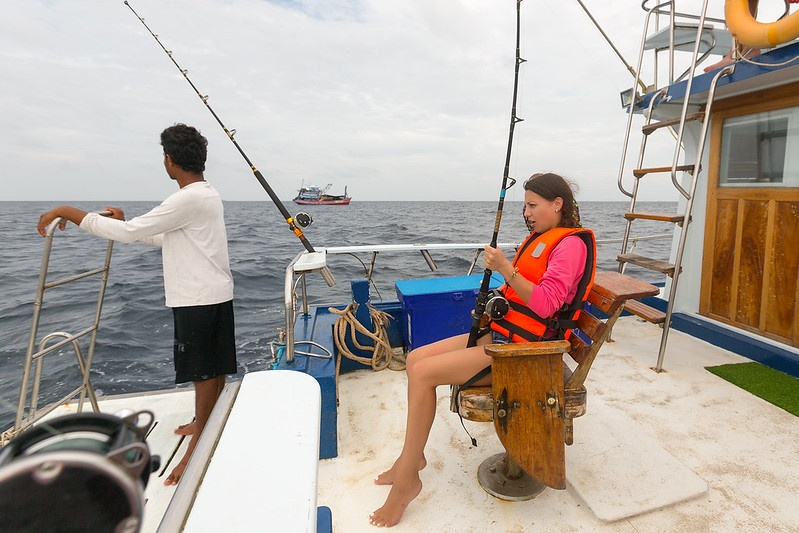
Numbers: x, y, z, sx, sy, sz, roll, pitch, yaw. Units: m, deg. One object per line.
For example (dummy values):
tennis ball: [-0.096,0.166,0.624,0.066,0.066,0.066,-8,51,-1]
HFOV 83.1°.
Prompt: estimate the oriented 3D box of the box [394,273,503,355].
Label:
box: [0.482,0.406,4.931,1.349,0.847,0.792,-4,8,-20]

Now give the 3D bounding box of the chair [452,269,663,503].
chair: [1.177,0.940,3.415,1.495,1.361,1.155,-2,-7,3]
